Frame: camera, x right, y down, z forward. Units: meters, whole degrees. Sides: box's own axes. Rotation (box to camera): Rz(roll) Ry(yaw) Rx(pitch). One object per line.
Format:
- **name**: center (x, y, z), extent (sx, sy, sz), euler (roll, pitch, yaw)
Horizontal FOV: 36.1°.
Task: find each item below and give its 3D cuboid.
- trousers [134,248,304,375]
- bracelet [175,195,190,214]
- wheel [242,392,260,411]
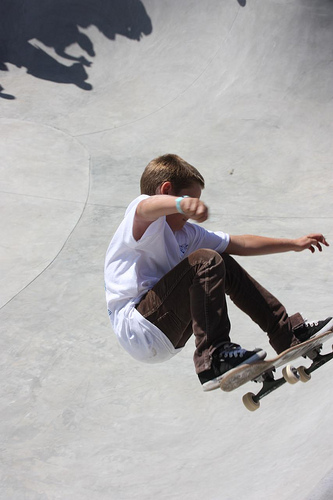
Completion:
- **trousers**: center (0.260, 0.338, 2.801), extent (0.901, 0.927, 0.564), euler (-11, 91, -47)
- **bracelet**: center (0.058, -0.186, 2.166), extent (0.077, 0.070, 0.020), euler (-16, 16, -39)
- **wheel**: center (0.424, 0.784, 2.639), extent (0.086, 0.039, 0.086), euler (45, 12, -12)
